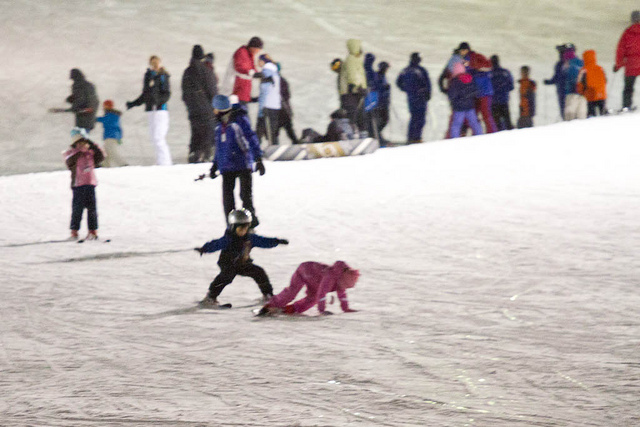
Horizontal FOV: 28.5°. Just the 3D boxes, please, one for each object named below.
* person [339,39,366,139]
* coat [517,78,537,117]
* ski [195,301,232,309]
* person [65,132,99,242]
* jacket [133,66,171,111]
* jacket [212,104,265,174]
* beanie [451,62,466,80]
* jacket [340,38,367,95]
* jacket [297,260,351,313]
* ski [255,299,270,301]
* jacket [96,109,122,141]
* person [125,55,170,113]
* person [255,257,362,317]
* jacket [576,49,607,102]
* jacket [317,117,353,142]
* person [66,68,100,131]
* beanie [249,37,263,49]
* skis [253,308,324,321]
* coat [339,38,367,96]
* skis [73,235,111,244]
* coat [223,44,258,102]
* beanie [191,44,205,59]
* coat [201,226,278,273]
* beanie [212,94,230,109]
[{"bbox_3d":[0.714,-3.126,31.530,0.659,2.511,0.825,-2,11,1],"label":"person"},{"bbox_3d":[5.342,-3.135,33.669,0.422,1.051,0.844,-1,10,8],"label":"coat"},{"bbox_3d":[-1.997,1.779,24.716,0.392,0.076,0.070,13,36,13],"label":"ski"},{"bbox_3d":[-5.102,-0.602,27.032,0.654,2.302,0.825,-4,11,-9],"label":"person"},{"bbox_3d":[-3.981,-3.004,30.113,0.430,1.029,0.801,-8,12,-31],"label":"jacket"},{"bbox_3d":[-1.763,-1.591,26.271,0.916,1.413,0.363,-2,11,-2],"label":"jacket"},{"bbox_3d":[3.318,-3.598,31.423,0.324,0.402,0.238,-1,10,6],"label":"beanie"},{"bbox_3d":[0.663,-3.669,31.260,0.621,1.363,0.436,0,11,12],"label":"jacket"},{"bbox_3d":[0.013,1.410,24.487,1.022,1.014,0.273,-1,11,2],"label":"jacket"},{"bbox_3d":[-1.195,1.687,24.864,0.247,0.028,0.023,1,-9,13],"label":"ski"},{"bbox_3d":[-5.326,-2.273,31.750,0.591,0.770,0.447,-3,10,-7],"label":"jacket"},{"bbox_3d":[-3.928,-3.100,29.964,0.419,1.336,0.532,-9,13,-33],"label":"person"},{"bbox_3d":[-0.251,1.435,24.585,1.928,1.080,0.484,-1,10,0],"label":"person"},{"bbox_3d":[6.798,-3.589,32.571,0.738,1.308,0.714,0,10,10],"label":"jacket"},{"bbox_3d":[0.259,-2.170,32.125,0.827,0.621,0.331,2,11,23],"label":"jacket"},{"bbox_3d":[-5.700,-2.748,30.198,0.717,1.503,1.007,-4,10,-10],"label":"person"},{"bbox_3d":[-1.546,-4.025,29.420,0.258,0.236,0.408,5,11,37],"label":"beanie"},{"bbox_3d":[-0.677,1.947,24.444,1.349,0.205,0.230,-1,9,-2],"label":"skis"},{"bbox_3d":[0.675,-3.790,31.366,0.833,1.141,0.636,0,12,-5],"label":"coat"},{"bbox_3d":[-4.870,0.519,26.899,0.767,0.200,0.187,-4,1,-11],"label":"skis"},{"bbox_3d":[-2.018,-3.329,29.752,0.722,1.351,0.576,0,11,8],"label":"coat"},{"bbox_3d":[-2.912,-3.807,29.592,0.356,0.334,0.134,3,-34,-10],"label":"beanie"},{"bbox_3d":[-1.681,0.733,24.873,2.001,0.916,0.575,0,12,-31],"label":"coat"},{"bbox_3d":[-2.120,-2.361,26.331,0.334,0.286,0.217,-2,10,-3],"label":"beanie"}]
